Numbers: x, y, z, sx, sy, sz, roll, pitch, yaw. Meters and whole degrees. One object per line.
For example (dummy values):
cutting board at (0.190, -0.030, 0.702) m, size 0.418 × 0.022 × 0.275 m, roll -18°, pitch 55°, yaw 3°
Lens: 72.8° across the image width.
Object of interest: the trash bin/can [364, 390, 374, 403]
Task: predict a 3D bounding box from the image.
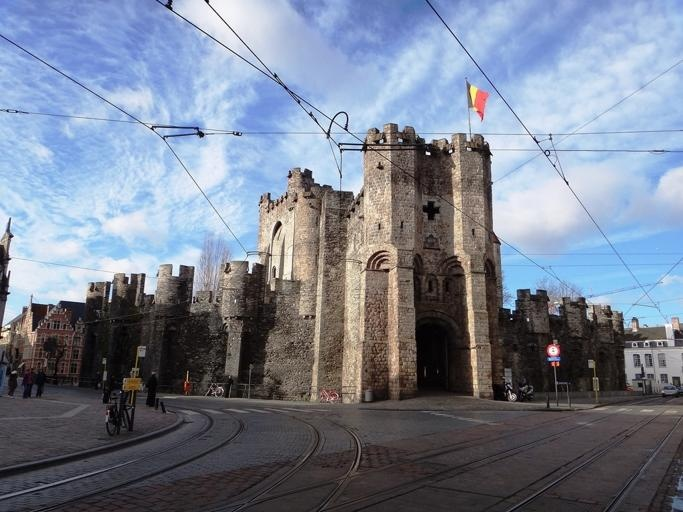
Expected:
trash bin/can at (1.435, 7.320, 24.082) m, size 0.496 × 0.581 × 0.470 m, roll -4°, pitch -14°, yaw 5°

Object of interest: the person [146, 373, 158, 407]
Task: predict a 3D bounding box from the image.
person at (-7.501, 5.342, 18.254) m, size 0.336 × 1.265 × 1.251 m, roll 4°, pitch -15°, yaw -23°

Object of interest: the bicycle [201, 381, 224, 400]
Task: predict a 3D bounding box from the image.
bicycle at (-8.612, 9.349, 32.021) m, size 1.700 × 0.881 × 0.812 m, roll -10°, pitch -38°, yaw 22°

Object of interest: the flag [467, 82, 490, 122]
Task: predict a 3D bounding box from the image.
flag at (7.623, -8.870, 25.791) m, size 1.297 × 2.486 × 0.272 m, roll -9°, pitch -10°, yaw 24°

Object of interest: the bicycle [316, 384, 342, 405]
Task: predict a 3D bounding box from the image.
bicycle at (-0.670, 8.660, 28.659) m, size 1.924 × 1.003 × 0.867 m, roll -10°, pitch -46°, yaw 20°
